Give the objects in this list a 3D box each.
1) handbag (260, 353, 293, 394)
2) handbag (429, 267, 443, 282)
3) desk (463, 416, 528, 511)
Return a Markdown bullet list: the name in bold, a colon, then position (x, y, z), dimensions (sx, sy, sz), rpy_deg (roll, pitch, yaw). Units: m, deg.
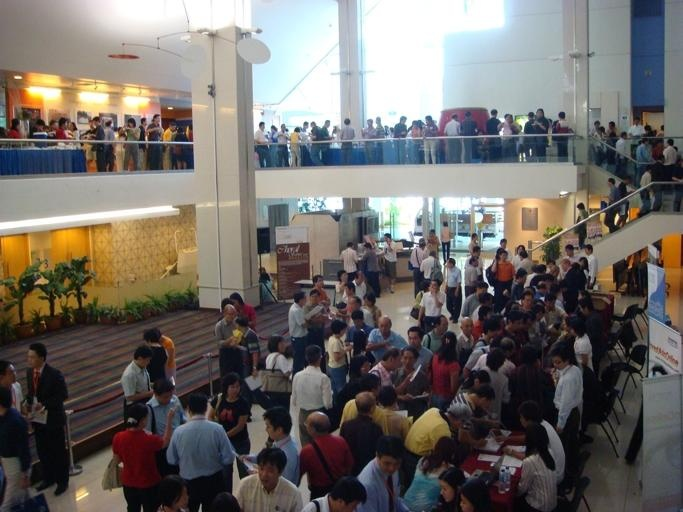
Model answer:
- **handbag**: position (-0.860, 1.505, 7.300), dimensions (0.406, 0.533, 0.282), rpy_deg (-5, 8, -8)
- **handbag**: position (2.233, 0.415, 13.091), dimensions (0.269, 0.341, 0.165), rpy_deg (-1, -3, -21)
- **desk**: position (1.593, 2.171, 5.866), dimensions (0.604, 0.493, 1.185), rpy_deg (-1, 10, 22)
